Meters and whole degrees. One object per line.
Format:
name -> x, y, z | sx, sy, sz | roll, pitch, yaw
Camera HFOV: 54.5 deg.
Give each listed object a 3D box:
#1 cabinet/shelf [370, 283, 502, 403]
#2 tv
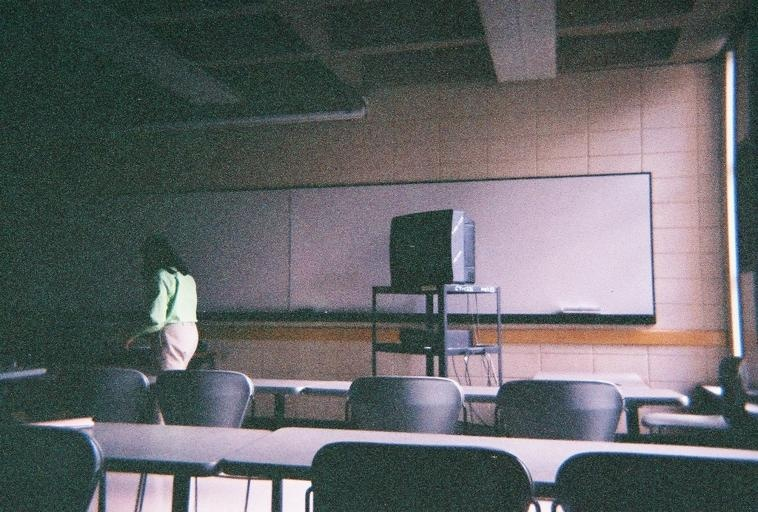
cabinet/shelf -> 0.354, 0.522, 4.145 | 0.487, 0.800, 0.640 | 2, 5, -17
tv -> 0.317, 0.005, 4.118 | 0.552, 0.422, 0.604 | 1, -9, -9
